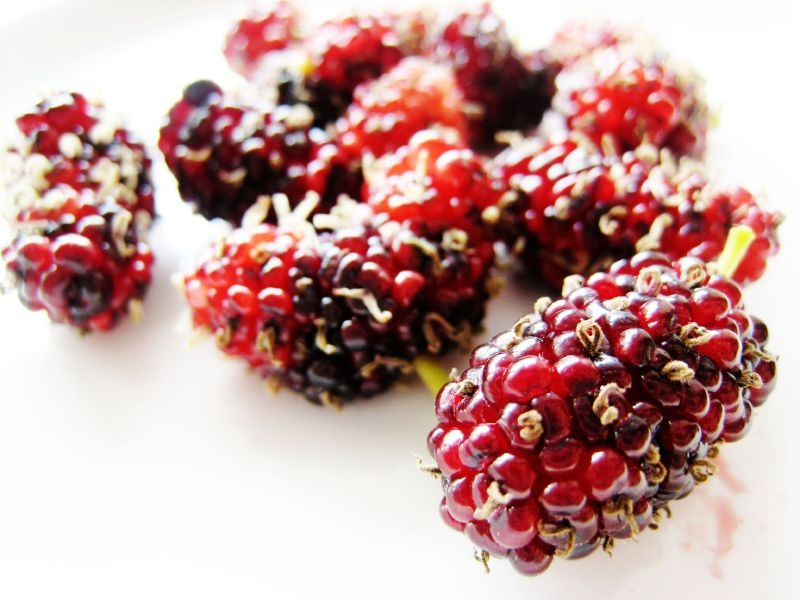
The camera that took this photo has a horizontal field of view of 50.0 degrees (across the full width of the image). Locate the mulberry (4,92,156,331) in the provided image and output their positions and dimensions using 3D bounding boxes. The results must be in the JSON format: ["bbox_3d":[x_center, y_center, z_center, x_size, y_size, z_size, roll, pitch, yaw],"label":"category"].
[{"bbox_3d":[-0.411,-0.114,1.092,0.182,0.124,0.306,7,47,-30],"label":"mulberry"}]

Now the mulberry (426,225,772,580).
[{"bbox_3d":[0.229,0.107,0.945,0.483,0.219,0.228,-31,13,-24],"label":"mulberry"}]
